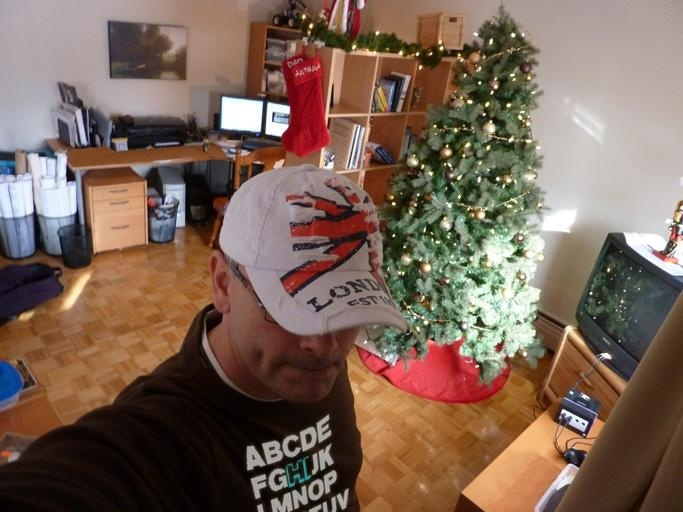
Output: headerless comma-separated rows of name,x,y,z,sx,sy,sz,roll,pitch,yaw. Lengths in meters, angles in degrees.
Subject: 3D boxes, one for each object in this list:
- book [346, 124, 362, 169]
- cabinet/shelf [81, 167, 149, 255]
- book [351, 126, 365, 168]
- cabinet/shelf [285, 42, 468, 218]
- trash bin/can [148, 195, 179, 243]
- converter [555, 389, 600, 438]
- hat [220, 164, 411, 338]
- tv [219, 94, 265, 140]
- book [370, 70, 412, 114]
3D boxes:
book,0.123,-0.936,4.006,0.136,0.374,0.037,-17,31,-38
cabinet/shelf,-2.057,-0.396,4.315,0.515,0.753,0.804,-6,49,-21
book,0.144,-0.942,4.031,0.060,0.270,0.263,12,8,6
cabinet/shelf,0.261,-0.950,3.276,1.499,1.440,0.455,-16,34,-33
trash bin/can,-1.783,-0.374,4.674,0.332,0.477,0.317,4,30,-13
converter,1.274,0.837,2.526,0.208,0.167,0.217,19,33,29
hat,-0.109,-0.017,1.164,0.304,0.250,0.476,-6,36,-37
tv,-1.106,-1.543,5.207,0.528,0.490,0.087,4,27,-20
book,0.419,-1.428,4.106,0.347,0.368,0.119,-5,21,-40
